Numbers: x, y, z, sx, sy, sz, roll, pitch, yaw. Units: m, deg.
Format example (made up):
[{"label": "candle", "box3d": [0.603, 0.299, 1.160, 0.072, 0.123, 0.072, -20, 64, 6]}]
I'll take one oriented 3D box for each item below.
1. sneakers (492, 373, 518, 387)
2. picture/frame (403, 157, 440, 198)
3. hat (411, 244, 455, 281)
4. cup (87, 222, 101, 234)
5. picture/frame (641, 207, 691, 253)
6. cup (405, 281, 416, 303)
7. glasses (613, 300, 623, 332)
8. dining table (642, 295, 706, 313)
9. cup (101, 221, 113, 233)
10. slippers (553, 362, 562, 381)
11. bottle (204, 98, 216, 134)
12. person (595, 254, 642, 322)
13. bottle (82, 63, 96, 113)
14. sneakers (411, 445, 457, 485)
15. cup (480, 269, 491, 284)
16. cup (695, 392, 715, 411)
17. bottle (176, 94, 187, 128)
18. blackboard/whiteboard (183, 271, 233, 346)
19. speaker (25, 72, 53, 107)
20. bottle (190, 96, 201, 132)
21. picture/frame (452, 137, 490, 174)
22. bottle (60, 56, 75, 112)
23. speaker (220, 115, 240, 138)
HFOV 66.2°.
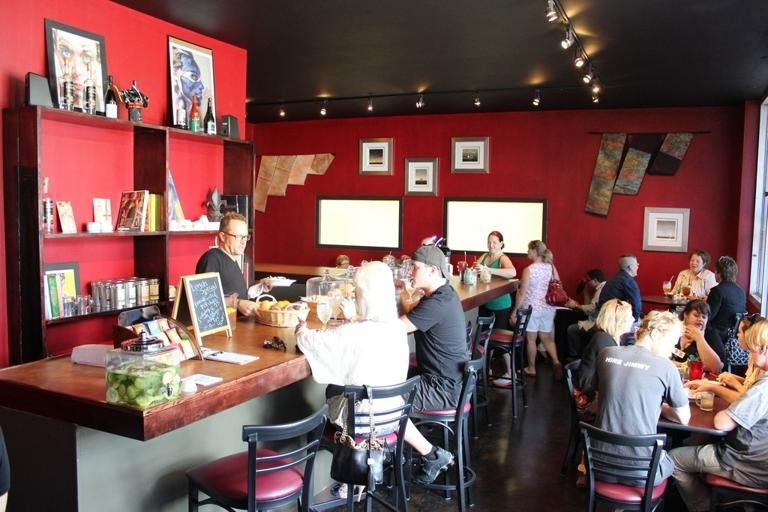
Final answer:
[{"label": "sneakers", "box3d": [1.407, 1.465, 6.946, 0.323, 0.128, 0.228, -1, -3, -29]}, {"label": "picture/frame", "box3d": [0.636, -1.278, 9.400, 0.630, 0.691, 0.046, 2, 3, 18]}, {"label": "hat", "box3d": [0.428, 0.032, 4.692, 0.329, 0.181, 0.217, 25, 4, -11]}, {"label": "cup", "box3d": [-2.553, -0.250, 5.179, 0.089, 0.087, 0.120, 0, -3, 26]}, {"label": "picture/frame", "box3d": [3.976, -0.374, 8.265, 0.594, 0.632, 0.039, 3, 1, 12]}, {"label": "cup", "box3d": [0.239, 0.350, 5.548, 0.147, 0.178, 0.144, -1, 4, 0]}, {"label": "glasses", "box3d": [1.998, 0.499, 4.999, 0.047, 0.175, 0.173, 4, 0, 6]}, {"label": "dining table", "box3d": [3.467, 0.553, 6.993, 0.404, 0.253, 0.408, 0, 0, 3]}, {"label": "cup", "box3d": [-2.501, -0.265, 5.327, 0.115, 0.114, 0.117, 4, -3, 0]}, {"label": "slippers", "box3d": [2.180, 1.442, 7.353, 0.158, 0.189, 0.484, -1, -6, 17]}, {"label": "bottle", "box3d": [-1.772, -1.431, 6.001, 0.112, 0.366, 0.466, -2, 12, -16]}, {"label": "person", "box3d": [2.942, 0.388, 7.163, 0.577, 0.803, 0.572, 0, 7, -11]}, {"label": "bottle", "box3d": [-2.540, -1.456, 5.074, 0.098, 0.441, 0.287, -4, 13, -26]}, {"label": "sneakers", "box3d": [0.380, 1.608, 4.467, 0.169, 0.369, 0.134, 45, 12, 23]}, {"label": "cup", "box3d": [1.244, 0.239, 7.124, 0.138, 0.157, 0.139, 2, 2, 0]}, {"label": "cup", "box3d": [2.391, 1.073, 4.375, 0.143, 0.140, 0.093, 3, 3, 40]}, {"label": "bottle", "box3d": [-2.013, -1.448, 5.865, 0.057, 0.262, 0.131, 3, 11, 9]}, {"label": "blackboard/whiteboard", "box3d": [-1.140, 0.344, 4.010, 0.332, 0.464, 0.254, -18, 4, 28]}, {"label": "speaker", "box3d": [-2.749, -1.330, 4.686, 0.170, 0.253, 0.154, -7, 14, -34]}, {"label": "bottle", "box3d": [-1.879, -1.415, 5.855, 0.109, 0.367, 0.416, -2, 12, -16]}, {"label": "picture/frame", "box3d": [1.381, -1.577, 9.083, 0.559, 0.569, 0.040, 2, 3, 20]}, {"label": "bottle", "box3d": [-2.672, -1.436, 4.964, 0.125, 0.386, 0.124, 3, 5, 0]}, {"label": "speaker", "box3d": [-1.596, -1.341, 6.107, 0.180, 0.235, 0.320, -2, 12, -15]}]
